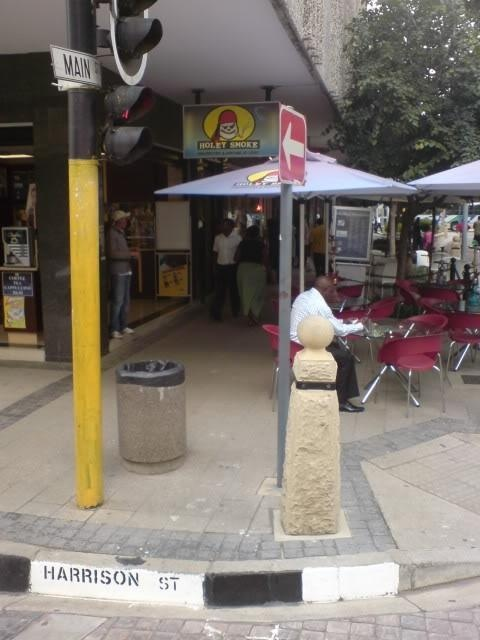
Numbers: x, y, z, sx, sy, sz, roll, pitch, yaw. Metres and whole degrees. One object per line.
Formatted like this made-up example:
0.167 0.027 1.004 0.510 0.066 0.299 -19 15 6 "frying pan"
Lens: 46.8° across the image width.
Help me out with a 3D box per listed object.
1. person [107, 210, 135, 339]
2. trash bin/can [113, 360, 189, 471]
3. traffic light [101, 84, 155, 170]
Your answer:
-1.843 -0.750 8.831 0.383 1.970 0.861 -3 9 -11 "person"
-0.638 0.774 4.225 0.513 0.825 0.307 -4 9 -12 "trash bin/can"
-0.658 -1.191 3.365 0.301 0.465 0.349 -4 10 -16 "traffic light"
